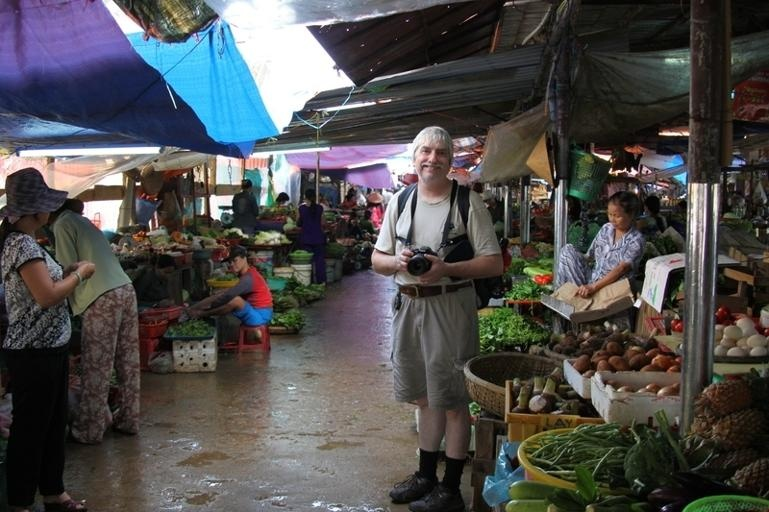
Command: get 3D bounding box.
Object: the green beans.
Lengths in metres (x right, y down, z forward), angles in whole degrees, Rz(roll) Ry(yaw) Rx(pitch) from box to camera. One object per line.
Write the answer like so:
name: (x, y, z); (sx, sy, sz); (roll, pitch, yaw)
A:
green beans: (1.119, 0.974, 3.062); (0.821, 0.270, 0.510); (3, 8, 22)

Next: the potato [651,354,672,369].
potato: (1.859, 0.706, 3.983); (0.093, 0.058, 0.111); (-15, 5, -2)

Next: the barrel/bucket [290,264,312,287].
barrel/bucket: (-1.839, 0.437, 13.316); (0.517, 0.421, 0.460); (-1, 0, -4)

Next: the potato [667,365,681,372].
potato: (1.870, 0.734, 3.845); (0.065, 0.032, 0.062); (-8, 3, 30)

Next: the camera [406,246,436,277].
camera: (0.253, 0.041, 4.125); (0.182, 0.188, 0.108); (1, 8, 3)

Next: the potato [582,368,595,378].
potato: (1.322, 0.761, 3.836); (0.058, 0.035, 0.068); (-3, 3, 15)

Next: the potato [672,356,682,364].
potato: (1.954, 0.699, 3.973); (0.065, 0.050, 0.060); (-1, -8, 4)

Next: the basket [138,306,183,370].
basket: (-3.000, 1.036, 8.033); (0.626, 0.330, 0.787); (1, -7, -6)

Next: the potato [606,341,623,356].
potato: (1.649, 0.665, 4.266); (0.111, 0.077, 0.180); (6, 9, 34)

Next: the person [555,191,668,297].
person: (2.231, -0.128, 6.106); (0.713, 1.074, 1.005); (1, 8, 7)

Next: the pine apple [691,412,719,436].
pine apple: (1.581, 0.843, 2.949); (0.061, 0.098, 0.093); (3, 24, -38)

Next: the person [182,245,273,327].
person: (-2.169, 0.489, 8.640); (0.873, 1.283, 0.530); (-1, 2, -27)

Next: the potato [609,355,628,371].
potato: (1.582, 0.727, 4.014); (0.086, 0.053, 0.106); (-14, 3, 10)

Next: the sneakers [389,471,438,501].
sneakers: (0.225, 1.815, 4.651); (0.405, 0.152, 0.193); (-3, 5, 3)

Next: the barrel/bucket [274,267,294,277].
barrel/bucket: (-2.128, 0.354, 12.619); (0.412, 0.201, 0.217); (-1, 8, -10)

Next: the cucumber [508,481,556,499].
cucumber: (0.714, 1.152, 2.897); (0.200, 0.070, 0.077); (-3, 36, 1)

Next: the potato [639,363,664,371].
potato: (1.750, 0.719, 3.879); (0.129, 0.057, 0.071); (0, 1, -19)

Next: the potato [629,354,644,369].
potato: (1.719, 0.717, 4.053); (0.108, 0.067, 0.065); (-29, 16, -26)

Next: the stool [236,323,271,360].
stool: (-1.906, 1.234, 8.808); (0.455, 0.361, 0.420); (-1, 2, 8)
